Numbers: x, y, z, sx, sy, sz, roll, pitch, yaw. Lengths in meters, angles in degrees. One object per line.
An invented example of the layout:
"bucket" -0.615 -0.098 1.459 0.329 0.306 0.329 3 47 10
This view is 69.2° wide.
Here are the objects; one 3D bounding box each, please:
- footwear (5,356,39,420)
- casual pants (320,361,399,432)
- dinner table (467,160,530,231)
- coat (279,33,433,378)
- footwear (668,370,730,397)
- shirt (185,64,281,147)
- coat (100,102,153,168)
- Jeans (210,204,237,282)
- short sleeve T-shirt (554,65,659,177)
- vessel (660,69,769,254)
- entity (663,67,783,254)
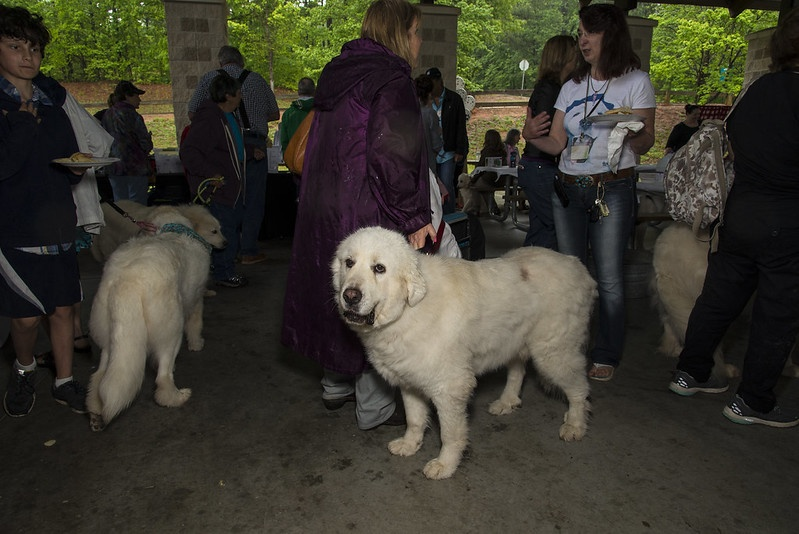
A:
"footwear" -3.364 1.050 5.086 0.224 0.223 0.569 1 41 -38
"casual pants" -0.363 1.007 5.010 0.534 0.659 0.286 23 28 28
"dinner table" 2.142 -1.490 11.551 1.412 0.899 1.870 -15 25 -27
"coat" -0.364 -0.338 4.591 1.204 2.776 0.884 2 22 2
"footwear" 2.685 1.040 5.339 0.635 0.247 0.213 -4 11 -9
"shirt" -2.419 -2.358 8.371 1.381 1.050 0.606 -12 16 -29
"coat" -4.275 -2.052 9.194 0.907 1.114 0.645 17 21 33
"Jeans" -2.249 -0.326 7.328 0.535 0.963 0.274 -12 -15 32
"short sleeve T-shirt" 1.826 -1.276 5.287 0.566 0.926 1.028 -17 23 -35
"vessel" 2.785 -0.855 4.904 0.761 1.315 0.949 1 42 20
"entity" 2.832 -0.917 4.925 0.859 1.416 0.950 -10 42 17
